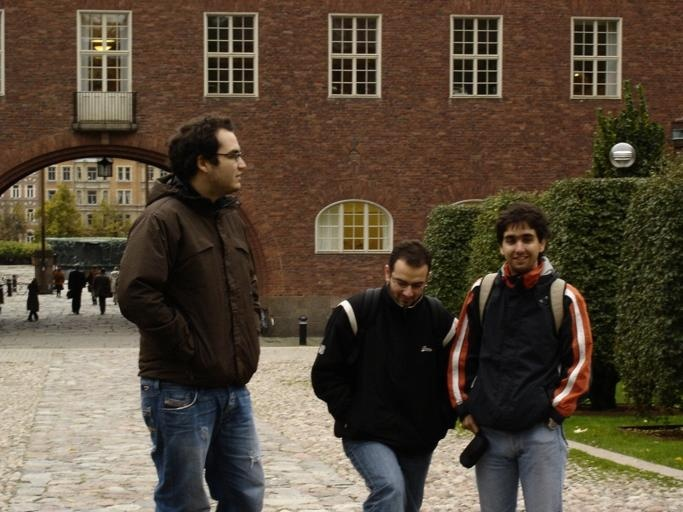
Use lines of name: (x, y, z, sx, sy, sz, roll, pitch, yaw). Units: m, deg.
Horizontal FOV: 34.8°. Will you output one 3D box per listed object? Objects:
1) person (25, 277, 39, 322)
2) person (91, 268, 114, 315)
person: (-8.994, 1.289, 31.384, 0.328, 1.189, 1.407, -1, 2, -17)
person: (-7.863, 1.158, 35.356, 0.513, 1.426, 2.283, -1, 2, -13)
